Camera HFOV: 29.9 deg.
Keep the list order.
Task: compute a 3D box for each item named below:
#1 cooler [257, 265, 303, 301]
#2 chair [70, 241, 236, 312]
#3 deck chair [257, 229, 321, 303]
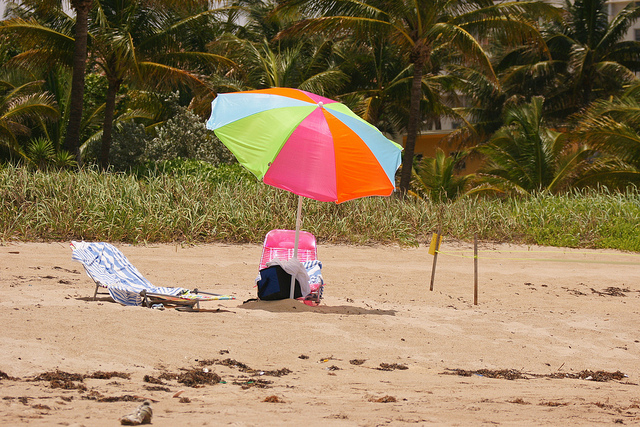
[{"bbox_3d":[-1.057,1.736,29.410,1.068,0.989,0.850,2,-2,7],"label":"cooler"},{"bbox_3d":[-4.424,1.529,29.146,3.356,1.535,0.884,3,2,2],"label":"chair"},{"bbox_3d":[-0.819,1.041,30.579,1.264,1.948,0.617,4,-12,-6],"label":"deck chair"}]
